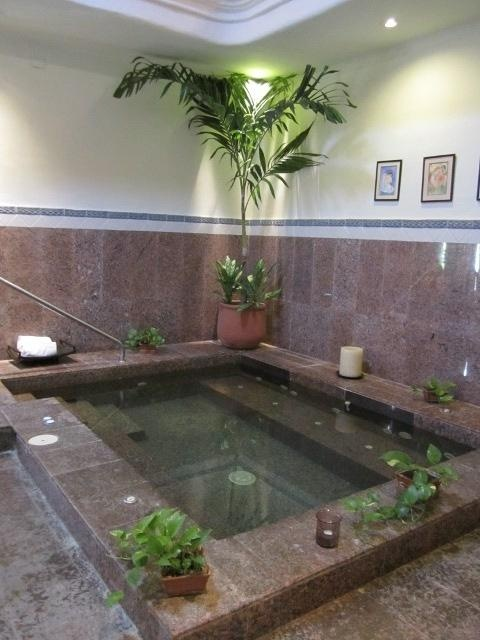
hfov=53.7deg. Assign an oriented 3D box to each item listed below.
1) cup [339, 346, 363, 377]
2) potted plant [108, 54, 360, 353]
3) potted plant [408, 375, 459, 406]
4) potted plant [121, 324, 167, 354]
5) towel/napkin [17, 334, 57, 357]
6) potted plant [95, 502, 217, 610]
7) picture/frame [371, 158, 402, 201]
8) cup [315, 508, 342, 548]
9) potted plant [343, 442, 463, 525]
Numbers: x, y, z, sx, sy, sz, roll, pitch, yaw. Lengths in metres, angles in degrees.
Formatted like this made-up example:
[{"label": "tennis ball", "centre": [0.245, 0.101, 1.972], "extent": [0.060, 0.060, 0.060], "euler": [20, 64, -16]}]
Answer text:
[{"label": "cup", "centre": [0.851, 0.334, 3.753], "extent": [0.218, 0.234, 0.217], "euler": [2, 0, 0]}, {"label": "potted plant", "centre": [-0.069, -1.053, 4.233], "extent": [2.291, 2.406, 1.972], "euler": [-5, 10, -31]}, {"label": "potted plant", "centre": [1.289, 0.465, 3.154], "extent": [0.253, 0.156, 0.209], "euler": [5, 6, 34]}, {"label": "potted plant", "centre": [-0.836, 0.169, 4.227], "extent": [0.261, 0.153, 0.269], "euler": [1, 8, -1]}, {"label": "towel/napkin", "centre": [-1.600, 0.210, 3.740], "extent": [0.274, 0.145, 0.301], "euler": [-1, 6, -28]}, {"label": "potted plant", "centre": [-0.186, 0.573, 1.183], "extent": [0.234, 0.150, 0.243], "euler": [-6, 1, 14]}, {"label": "picture/frame", "centre": [1.110, -1.051, 3.555], "extent": [0.018, 0.403, 0.316], "euler": [-12, 19, -32]}, {"label": "cup", "centre": [0.251, 0.611, 1.410], "extent": [0.093, 0.084, 0.088], "euler": [0, 8, 0]}, {"label": "potted plant", "centre": [0.639, 0.564, 1.745], "extent": [0.323, 0.149, 0.288], "euler": [35, -12, -36]}]
